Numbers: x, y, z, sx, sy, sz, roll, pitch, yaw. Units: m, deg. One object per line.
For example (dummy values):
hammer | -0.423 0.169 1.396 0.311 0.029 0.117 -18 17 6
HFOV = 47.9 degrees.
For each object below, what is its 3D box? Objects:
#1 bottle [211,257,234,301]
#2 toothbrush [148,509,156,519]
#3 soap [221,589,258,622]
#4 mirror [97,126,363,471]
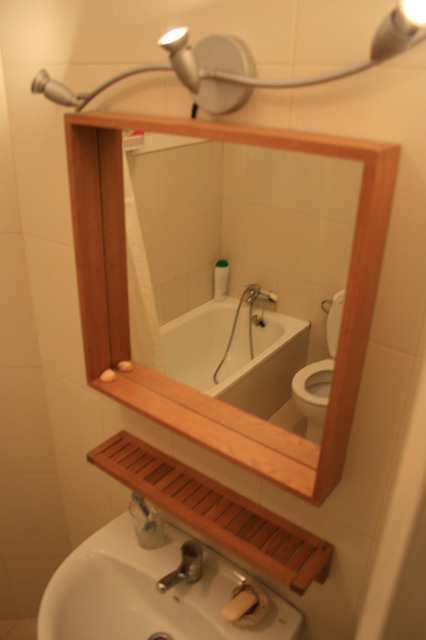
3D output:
bottle | 0.018 -0.080 0.951 0.053 0.094 0.008 19 32 31
toothbrush | -0.155 0.487 1.198 0.011 0.007 0.017 28 59 24
soap | 0.058 0.598 1.031 0.045 0.022 0.080 20 30 36
mirror | 0.037 -0.054 0.897 0.520 0.546 0.175 23 33 33
